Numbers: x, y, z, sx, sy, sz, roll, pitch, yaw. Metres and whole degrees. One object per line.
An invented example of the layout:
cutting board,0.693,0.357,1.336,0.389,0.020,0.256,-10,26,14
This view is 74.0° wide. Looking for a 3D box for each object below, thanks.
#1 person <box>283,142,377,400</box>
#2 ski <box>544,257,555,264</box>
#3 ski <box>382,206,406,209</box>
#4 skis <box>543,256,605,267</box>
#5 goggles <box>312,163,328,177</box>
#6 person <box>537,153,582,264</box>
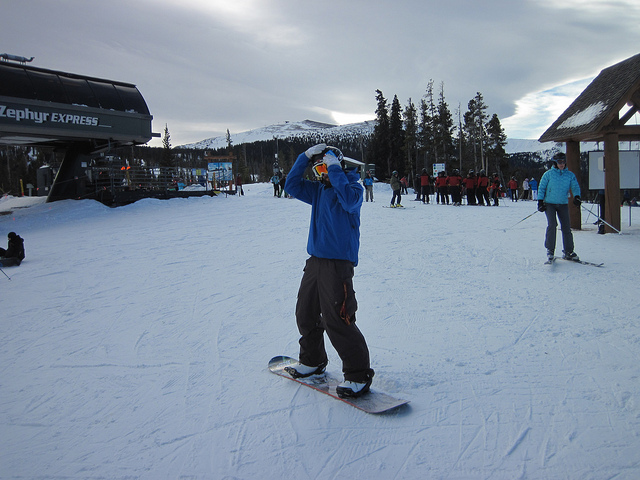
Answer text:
person,0.117,0.276,4.367,0.933,2.519,0.435,2,7,37
ski,4.605,0.411,8.538,0.080,0.150,0.069,25,-7,-17
ski,3.542,-1.551,20.322,1.379,0.192,0.074,2,-28,-34
skis,5.091,0.445,8.527,0.088,0.061,0.776,-27,26,-37
goggles,0.015,-0.718,4.409,0.109,0.146,0.075,5,33,19
person,4.950,-0.689,8.759,1.128,2.213,0.675,-7,8,-41
